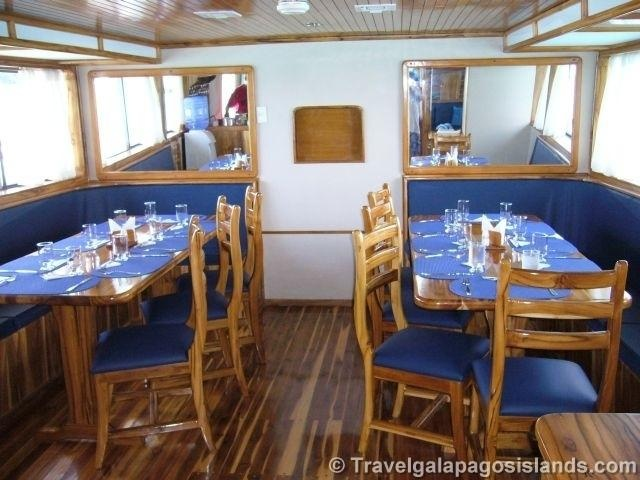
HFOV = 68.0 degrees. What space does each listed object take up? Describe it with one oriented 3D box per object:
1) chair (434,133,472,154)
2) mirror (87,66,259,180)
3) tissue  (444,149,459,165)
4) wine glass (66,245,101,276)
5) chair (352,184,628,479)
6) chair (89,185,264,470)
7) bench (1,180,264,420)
[{"bbox_3d":[1.269,-0.933,4.612,0.273,0.164,0.193,1,22,0],"label":"chair"},{"bbox_3d":[-1.457,-1.131,4.711,1.702,1.091,0.202,2,19,7],"label":"mirror"},{"bbox_3d":[1.272,-0.809,4.569,0.096,0.170,0.092,5,41,11],"label":"tissue "},{"bbox_3d":[-1.503,0.136,3.003,0.203,0.214,0.199,2,22,-23],"label":"wine glass"},{"bbox_3d":[0.729,0.578,2.466,1.366,1.289,0.683,12,23,35],"label":"chair"},{"bbox_3d":[-0.934,0.610,3.133,1.188,1.968,1.183,3,21,-3],"label":"chair"},{"bbox_3d":[-1.317,0.441,3.256,0.916,0.798,1.605,1,28,-1],"label":"bench"}]
